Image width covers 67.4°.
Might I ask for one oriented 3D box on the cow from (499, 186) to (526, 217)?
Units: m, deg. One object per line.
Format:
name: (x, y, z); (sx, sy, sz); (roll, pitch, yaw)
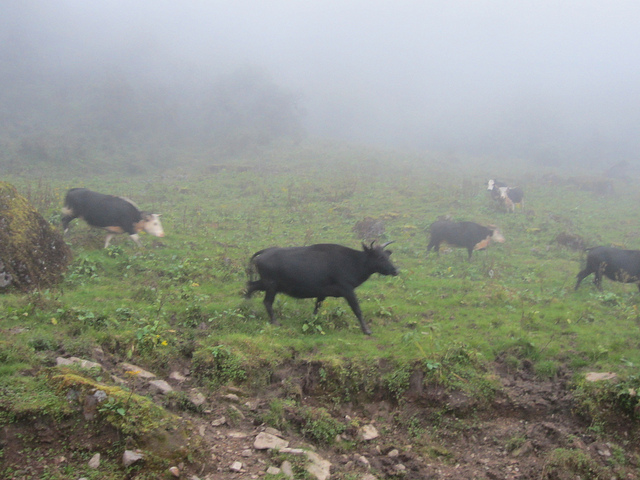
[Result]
cow: (9.963, -2.120, 24.997); (1.449, 1.096, 2.605); (15, 15, 20)

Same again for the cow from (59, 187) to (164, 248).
cow: (-7.033, -0.713, 16.490); (3.676, 1.828, 1.014); (12, 13, 5)
